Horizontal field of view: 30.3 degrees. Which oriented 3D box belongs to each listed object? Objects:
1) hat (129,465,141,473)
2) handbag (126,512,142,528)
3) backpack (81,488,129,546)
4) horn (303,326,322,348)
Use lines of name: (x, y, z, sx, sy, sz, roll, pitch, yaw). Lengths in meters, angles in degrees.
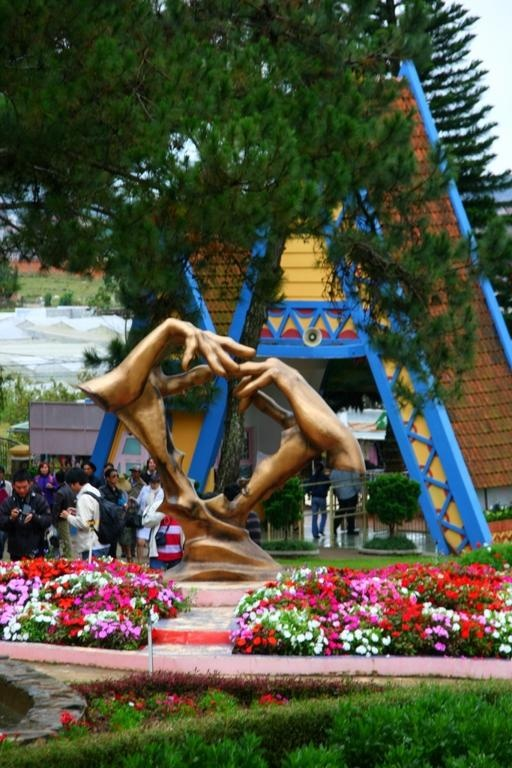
hat: (-1.783, 1.240, 13.859, 0.157, 0.118, 0.217, -3, -11, 27)
handbag: (-1.570, 1.787, 12.447, 0.264, 0.201, 0.188, 7, 9, 44)
backpack: (-1.615, 1.468, 10.294, 0.609, 0.630, 0.428, 12, -2, 0)
horn: (1.065, -0.897, 17.851, 0.341, 0.372, 0.270, -4, 0, 15)
